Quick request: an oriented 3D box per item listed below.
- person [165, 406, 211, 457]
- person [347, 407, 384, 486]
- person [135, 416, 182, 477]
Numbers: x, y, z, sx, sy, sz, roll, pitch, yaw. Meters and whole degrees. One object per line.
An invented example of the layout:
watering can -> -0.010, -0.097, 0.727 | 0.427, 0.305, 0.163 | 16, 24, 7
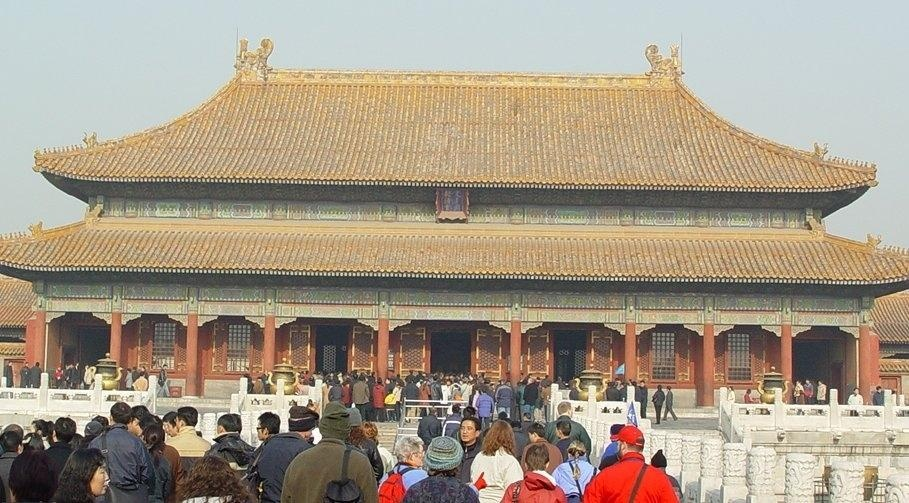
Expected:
person -> -9.716, 6.638, 78.513 | 1.316, 1.939, 1.077 | -2, 2, -15
person -> -3.218, 6.949, 78.136 | 1.313, 2.492, 0.947 | -1, 0, -4
person -> -10.573, 7.034, 77.878 | 1.238, 2.184, 1.048 | -1, 2, -3
